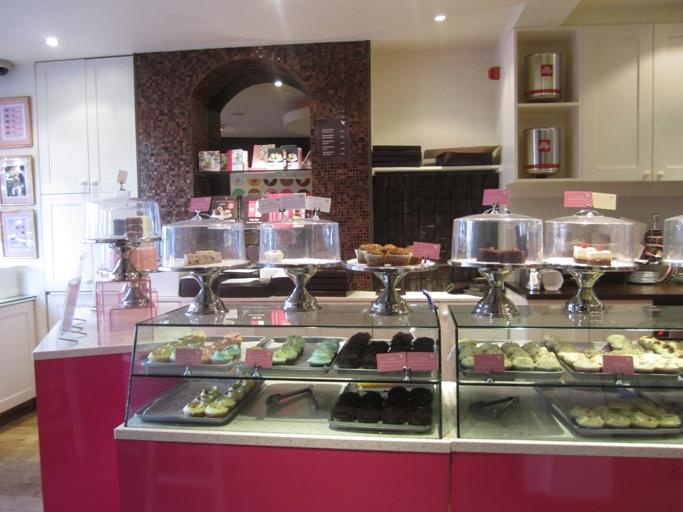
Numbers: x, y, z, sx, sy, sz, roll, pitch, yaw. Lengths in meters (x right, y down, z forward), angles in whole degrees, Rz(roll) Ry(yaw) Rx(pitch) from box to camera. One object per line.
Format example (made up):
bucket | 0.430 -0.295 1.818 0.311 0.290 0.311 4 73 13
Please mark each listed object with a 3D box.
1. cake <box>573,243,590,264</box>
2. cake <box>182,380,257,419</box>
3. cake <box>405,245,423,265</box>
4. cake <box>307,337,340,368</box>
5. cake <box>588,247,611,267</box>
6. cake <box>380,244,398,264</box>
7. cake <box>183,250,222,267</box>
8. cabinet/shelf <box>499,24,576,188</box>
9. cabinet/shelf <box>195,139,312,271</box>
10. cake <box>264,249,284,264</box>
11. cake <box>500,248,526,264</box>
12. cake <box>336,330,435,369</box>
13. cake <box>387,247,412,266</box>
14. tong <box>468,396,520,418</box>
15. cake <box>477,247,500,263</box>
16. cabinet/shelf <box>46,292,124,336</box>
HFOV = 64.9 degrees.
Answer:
cake | 1.258 -0.012 2.883 0.110 0.077 0.099 0 4 8
cake | -0.622 0.732 2.732 0.188 0.044 0.287 1 2 10
cake | 0.385 0.004 2.887 0.104 0.067 0.103 1 0 -2
cake | -0.080 0.479 2.662 0.114 0.046 0.166 6 29 14
cake | 1.346 0.003 2.812 0.100 0.082 0.112 0 6 22
cake | 0.254 -0.021 2.908 0.102 0.085 0.093 1 -4 -3
cake | -0.761 0.014 2.998 0.182 0.066 0.139 -2 5 -3
cabinet/shelf | 1.640 -1.225 4.514 0.595 1.236 0.502 -1 6 11
cabinet/shelf | -0.936 -0.859 6.875 1.075 1.425 4.878 -2 5 -3
cake | -0.388 -0.002 3.060 0.123 0.064 0.077 -1 6 11
cake | 0.881 0.001 2.784 0.125 0.071 0.071 -1 6 11
cake | 0.201 0.433 2.597 0.339 0.090 0.232 -1 3 6
cake | 0.306 0.003 2.840 0.108 0.058 0.103 1 -4 0
tong | 0.715 0.720 2.565 0.195 0.039 0.100 -17 15 -16
cake | 0.778 -0.001 2.827 0.078 0.060 0.101 2 -1 12
cabinet/shelf | -1.735 0.394 3.710 0.616 0.112 0.354 -1 13 -9
